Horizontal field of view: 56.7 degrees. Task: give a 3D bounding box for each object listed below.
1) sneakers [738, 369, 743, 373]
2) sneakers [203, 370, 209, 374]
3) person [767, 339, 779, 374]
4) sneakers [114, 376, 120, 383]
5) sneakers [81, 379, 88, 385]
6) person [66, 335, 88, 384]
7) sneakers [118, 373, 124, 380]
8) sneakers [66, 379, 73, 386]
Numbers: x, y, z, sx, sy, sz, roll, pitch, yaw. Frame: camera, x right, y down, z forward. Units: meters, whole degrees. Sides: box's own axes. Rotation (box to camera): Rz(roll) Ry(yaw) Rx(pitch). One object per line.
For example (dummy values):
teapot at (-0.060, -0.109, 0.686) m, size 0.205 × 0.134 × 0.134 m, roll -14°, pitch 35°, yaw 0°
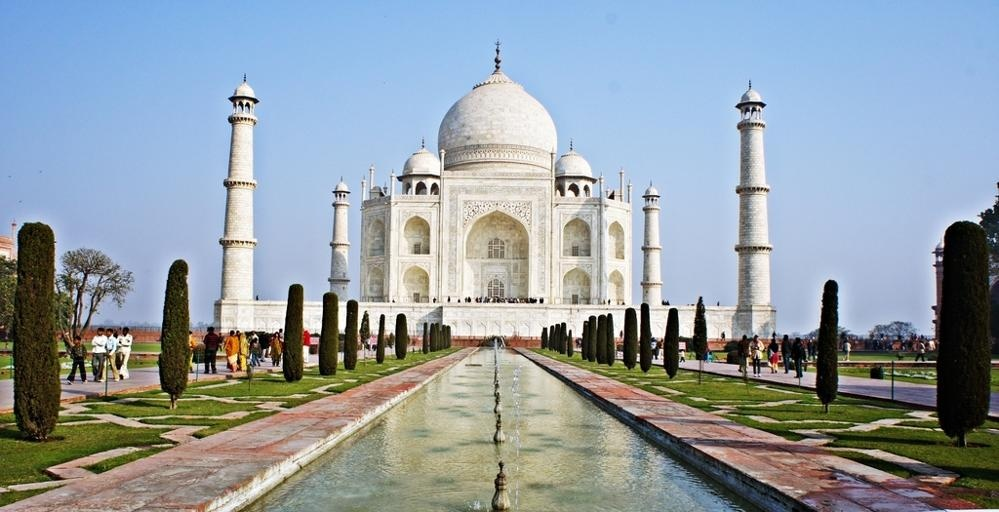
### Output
sneakers at (7.150, 3.387, 27.338) m, size 0.121 × 0.134 × 0.345 m, roll -2°, pitch -4°, yaw 3°
sneakers at (-7.835, 3.106, 24.729) m, size 0.133 × 0.097 × 0.116 m, roll 0°, pitch -4°, yaw -2°
person at (8.224, 3.006, 27.763) m, size 0.243 × 0.968 × 0.929 m, roll 2°, pitch 7°, yaw 12°
sneakers at (-9.240, 2.973, 22.422) m, size 0.107 × 0.104 × 0.281 m, roll 0°, pitch 2°, yaw 1°
sneakers at (-9.890, 3.010, 22.088) m, size 0.098 × 0.094 × 0.252 m, roll 0°, pitch 3°, yaw 1°
person at (-10.454, 2.514, 22.869) m, size 0.438 × 1.314 × 2.116 m, roll -3°, pitch 7°, yaw -25°
sneakers at (-9.270, 2.966, 22.751) m, size 0.148 × 0.122 × 0.118 m, roll 1°, pitch -18°, yaw -15°
sneakers at (-10.164, 3.005, 21.883) m, size 0.120 × 0.106 × 0.285 m, roll 1°, pitch 1°, yaw -6°
